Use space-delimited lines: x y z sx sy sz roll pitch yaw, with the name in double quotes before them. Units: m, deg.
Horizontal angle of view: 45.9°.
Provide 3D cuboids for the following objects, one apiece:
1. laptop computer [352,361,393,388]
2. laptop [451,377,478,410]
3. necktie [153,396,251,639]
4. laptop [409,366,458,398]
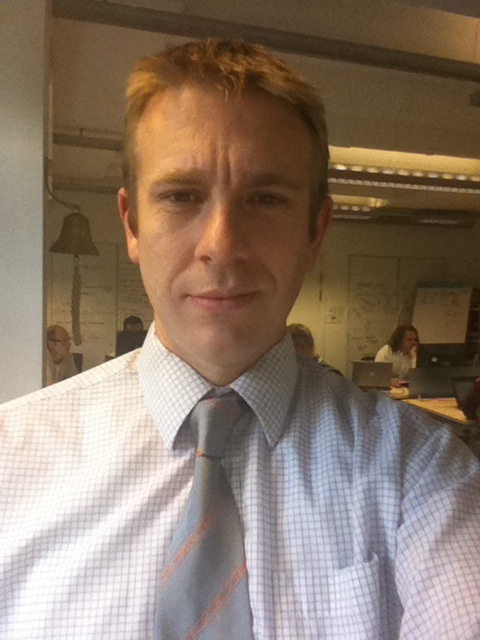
"laptop computer" 0.948 0.385 4.064 0.376 0.206 0.242 1 7 -4
"laptop" 1.628 0.544 4.257 0.279 0.243 0.217 1 -16 5
"necktie" -0.055 0.336 1.027 0.158 0.345 0.279 4 4 -4
"laptop" 1.508 0.491 4.446 0.381 0.232 0.248 -1 4 -4
